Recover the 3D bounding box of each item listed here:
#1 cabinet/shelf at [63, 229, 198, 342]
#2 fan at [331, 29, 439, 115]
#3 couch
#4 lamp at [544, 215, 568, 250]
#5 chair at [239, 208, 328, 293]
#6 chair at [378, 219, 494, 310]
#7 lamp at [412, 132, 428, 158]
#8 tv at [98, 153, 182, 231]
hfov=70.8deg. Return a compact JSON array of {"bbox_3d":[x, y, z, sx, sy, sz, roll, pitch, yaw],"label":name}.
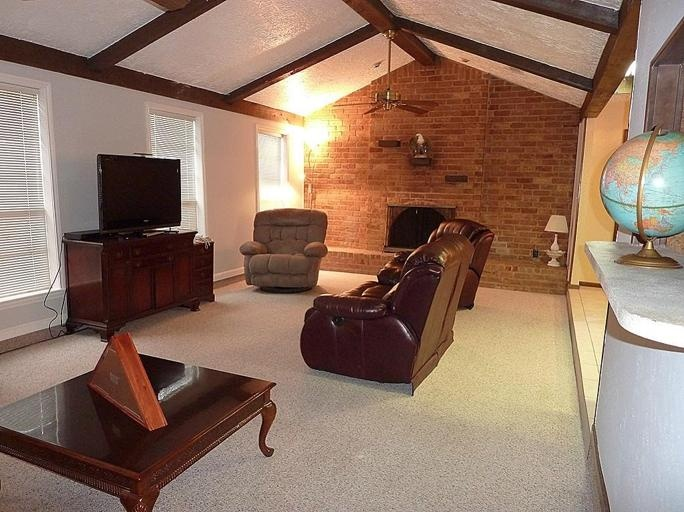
[{"bbox_3d":[-2.272,0.231,5.178,0.625,1.032,1.126,7,12,32],"label":"cabinet/shelf"},{"bbox_3d":[0.684,-2.347,6.022,1.245,0.945,1.189,-2,10,-11],"label":"fan"},{"bbox_3d":[0.348,0.424,4.060,1.191,1.212,0.886,4,11,23],"label":"couch"},{"bbox_3d":[3.197,-0.348,7.173,0.312,0.526,0.507,5,11,23],"label":"lamp"},{"bbox_3d":[-0.812,-0.117,6.826,1.265,0.968,0.947,0,16,2],"label":"chair"},{"bbox_3d":[0.930,0.070,5.821,1.435,1.166,1.273,5,12,31],"label":"chair"},{"bbox_3d":[1.290,-1.820,7.918,0.240,0.328,0.134,1,11,6],"label":"lamp"},{"bbox_3d":[-2.204,-0.690,5.157,0.141,0.656,1.007,8,9,23],"label":"tv"}]
